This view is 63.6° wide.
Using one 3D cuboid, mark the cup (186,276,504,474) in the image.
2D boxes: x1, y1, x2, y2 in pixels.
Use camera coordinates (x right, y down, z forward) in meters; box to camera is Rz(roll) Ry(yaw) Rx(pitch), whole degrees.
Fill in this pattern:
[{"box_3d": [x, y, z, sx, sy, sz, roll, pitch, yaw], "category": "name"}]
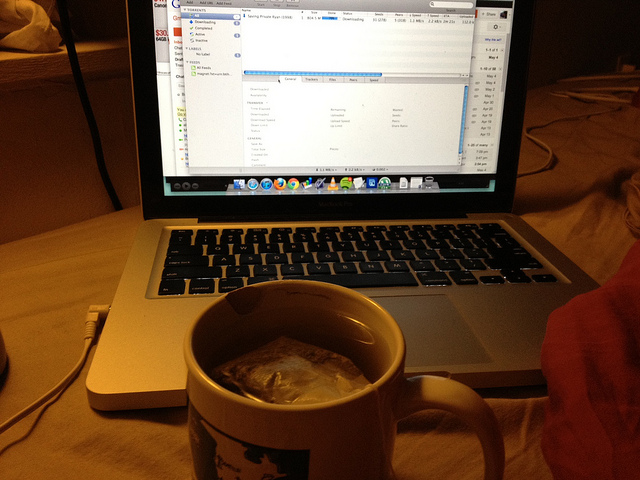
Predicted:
[{"box_3d": [0.015, 0.102, 0.333, 0.162, 0.120, 0.107, 21, 35, 14], "category": "cup"}]
